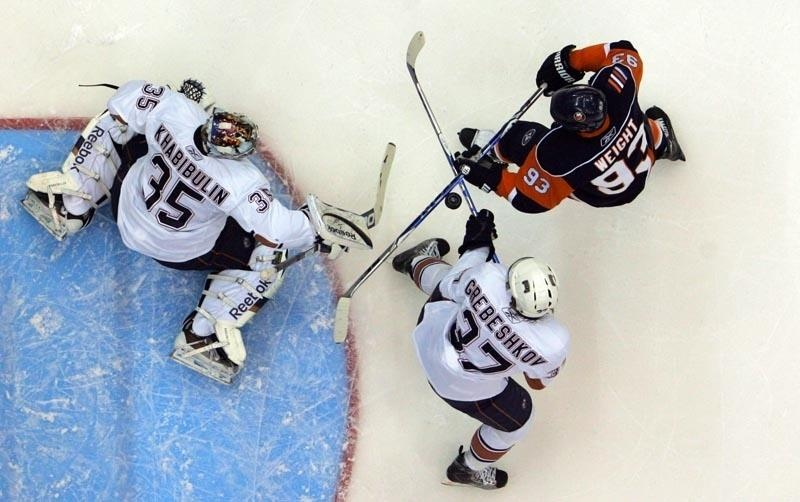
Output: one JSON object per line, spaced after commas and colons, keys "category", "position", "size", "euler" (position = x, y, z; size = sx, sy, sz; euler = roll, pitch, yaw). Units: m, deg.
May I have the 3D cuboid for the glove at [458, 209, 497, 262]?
{"category": "glove", "position": [0.773, -0.155, 8.146], "size": [0.183, 0.460, 0.442], "euler": [8, -5, -34]}

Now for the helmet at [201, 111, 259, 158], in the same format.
{"category": "helmet", "position": [-1.553, -1.052, 7.838], "size": [0.493, 0.395, 0.410], "euler": [3, -5, 36]}

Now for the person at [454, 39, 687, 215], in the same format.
{"category": "person", "position": [1.720, -1.178, 8.423], "size": [1.116, 1.185, 1.460], "euler": [37, 4, 1]}

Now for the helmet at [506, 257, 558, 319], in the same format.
{"category": "helmet", "position": [1.183, 0.318, 7.700], "size": [0.417, 0.553, 0.467], "euler": [-3, 4, 1]}

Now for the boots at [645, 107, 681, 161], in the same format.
{"category": "boots", "position": [2.713, -1.193, 8.632], "size": [0.175, 0.544, 0.376], "euler": [-25, -4, 30]}

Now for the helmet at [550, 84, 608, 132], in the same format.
{"category": "helmet", "position": [1.626, -1.338, 7.739], "size": [0.464, 0.378, 0.424], "euler": [1, 11, -6]}
